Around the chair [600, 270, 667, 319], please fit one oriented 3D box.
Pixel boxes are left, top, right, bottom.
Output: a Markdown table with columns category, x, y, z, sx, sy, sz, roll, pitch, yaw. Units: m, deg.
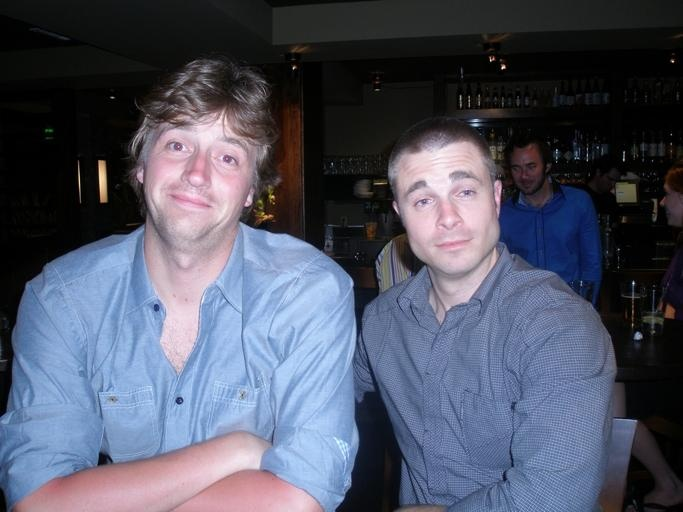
| category | x | y | z | sx | sy | sz | roll | pitch | yaw |
| --- | --- | --- | --- | --- | --- | --- | --- | --- | --- |
| chair | 1.917 | 0.260 | 4.030 | 0.346 | 0.339 | 0.189 | -2 | 6 | 2 |

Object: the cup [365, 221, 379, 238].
| category | x | y | z | sx | sy | sz | roll | pitch | yaw |
| --- | --- | --- | --- | --- | --- | --- | --- | --- | --- |
| cup | 0.328 | -0.281 | 6.706 | 0.146 | 0.181 | 0.155 | -1 | 1 | 0 |
